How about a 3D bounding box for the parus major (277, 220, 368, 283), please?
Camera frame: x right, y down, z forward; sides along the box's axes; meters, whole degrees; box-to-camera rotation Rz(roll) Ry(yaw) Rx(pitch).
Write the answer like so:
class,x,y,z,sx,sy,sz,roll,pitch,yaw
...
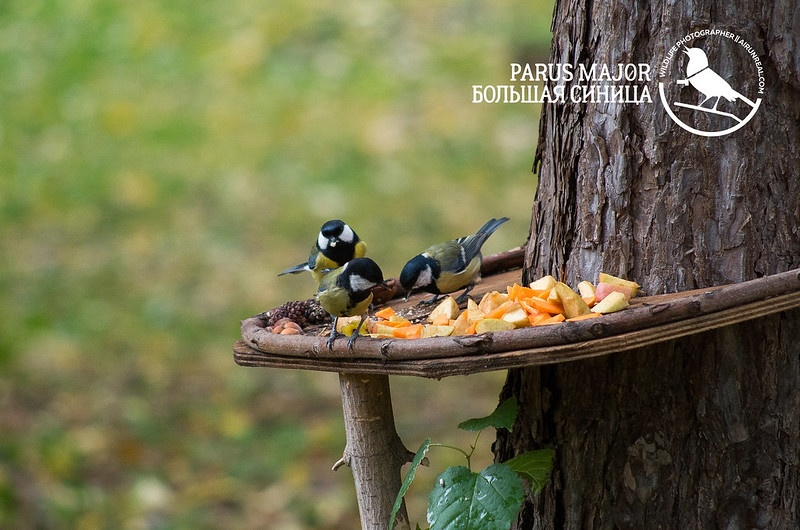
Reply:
class,x,y,z,sx,sy,sz,roll,pitch,yaw
parus major,-0.437,-0.070,8.108,0.332,0.496,0.811,-5,-3,-37
